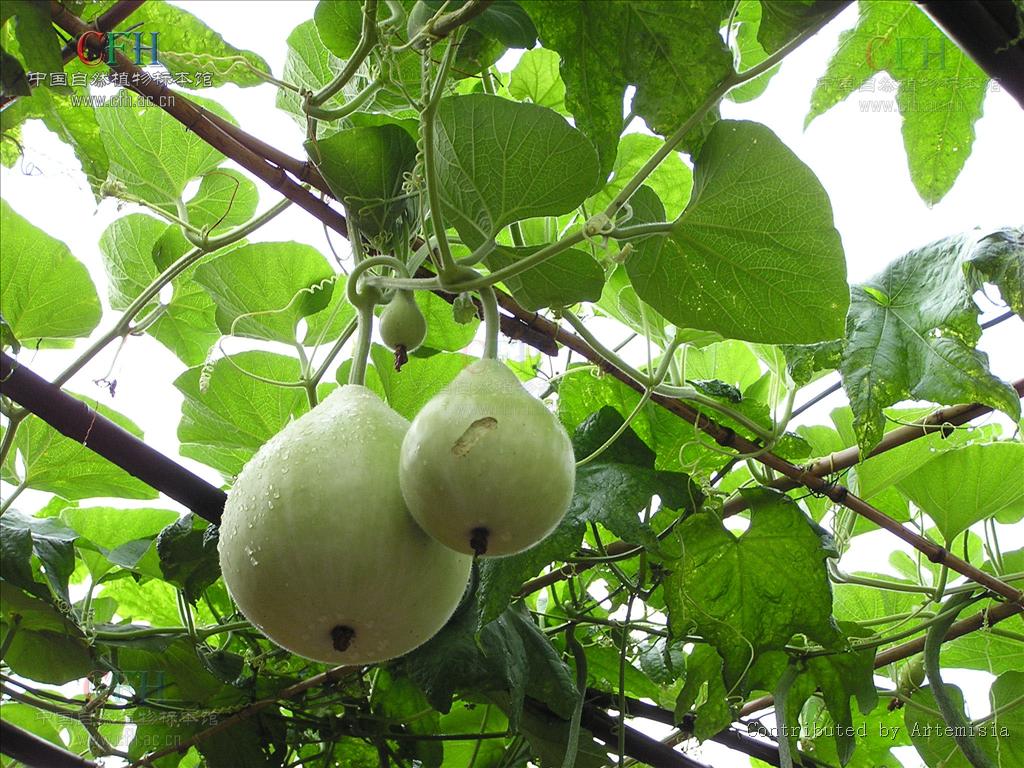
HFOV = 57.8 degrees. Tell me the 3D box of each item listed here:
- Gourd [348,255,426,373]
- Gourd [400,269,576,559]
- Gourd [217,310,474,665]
[{"bbox_3d":[-0.163,-0.095,1.213,0.108,0.229,0.053,-6,-56,0],"label":"Gourd"},{"bbox_3d":[-0.057,0.104,1.127,0.203,0.425,0.209,5,-46,-4],"label":"Gourd"},{"bbox_3d":[-0.172,0.057,1.124,0.198,0.226,0.406,-12,-86,54],"label":"Gourd"}]
